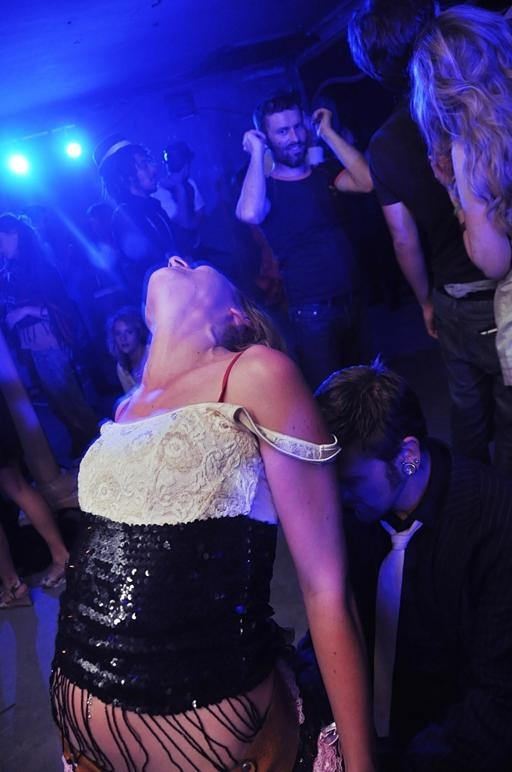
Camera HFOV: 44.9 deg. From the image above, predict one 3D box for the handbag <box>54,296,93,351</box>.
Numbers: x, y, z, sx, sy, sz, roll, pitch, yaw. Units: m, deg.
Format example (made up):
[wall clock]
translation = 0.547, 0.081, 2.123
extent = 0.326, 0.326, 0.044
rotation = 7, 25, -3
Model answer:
[handbag]
translation = -0.888, -0.318, 3.178
extent = 0.065, 0.215, 0.216
rotation = -12, 47, -1
